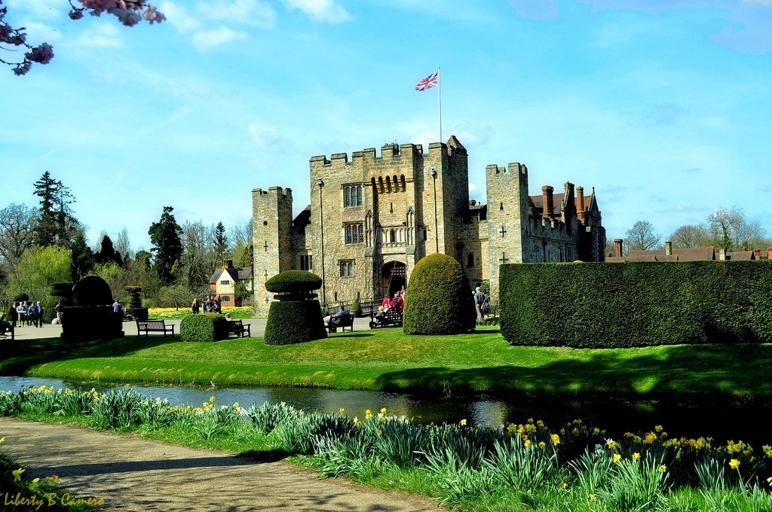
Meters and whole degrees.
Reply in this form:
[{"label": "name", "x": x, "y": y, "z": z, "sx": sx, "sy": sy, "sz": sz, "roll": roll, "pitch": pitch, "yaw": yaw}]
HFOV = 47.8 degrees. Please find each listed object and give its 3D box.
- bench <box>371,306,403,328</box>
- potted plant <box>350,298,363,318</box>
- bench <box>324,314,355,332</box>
[{"label": "bench", "x": -0.069, "y": 2.865, "z": 40.202, "sx": 1.253, "sy": 0.693, "sz": 0.875, "roll": 3, "pitch": -5, "yaw": -38}, {"label": "potted plant", "x": -1.663, "y": 3.132, "z": 50.701, "sx": 0.766, "sy": 0.740, "sz": 0.763, "roll": 0, "pitch": -4, "yaw": -12}, {"label": "bench", "x": -2.036, "y": 3.049, "z": 38.881, "sx": 1.039, "sy": 0.761, "sz": 1.631, "roll": 0, "pitch": -5, "yaw": -9}]
